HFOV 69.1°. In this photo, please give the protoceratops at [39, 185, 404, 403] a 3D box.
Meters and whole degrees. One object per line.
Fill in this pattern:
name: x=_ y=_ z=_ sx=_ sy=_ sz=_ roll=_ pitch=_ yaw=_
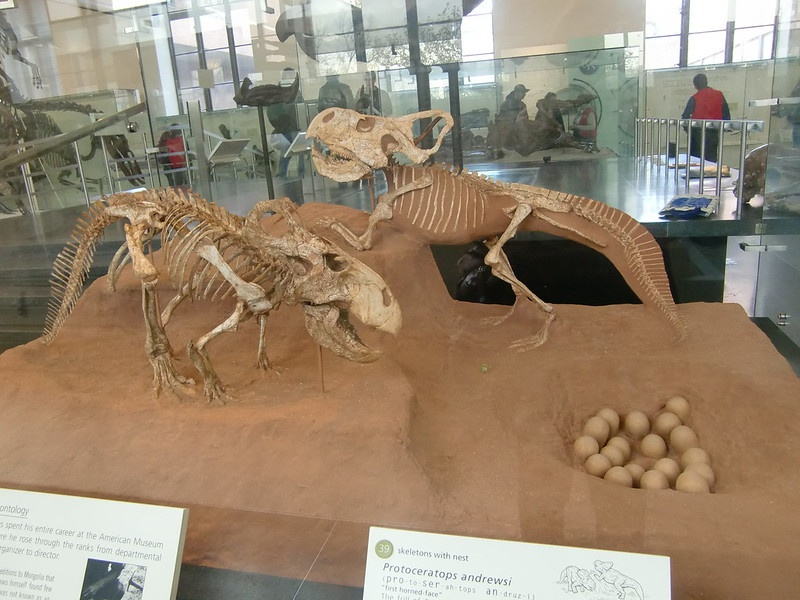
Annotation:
protoceratops: x=-1.130 y=0.007 z=3.649 sx=1.974 sy=0.982 sz=0.794 roll=9 pitch=41 yaw=1
